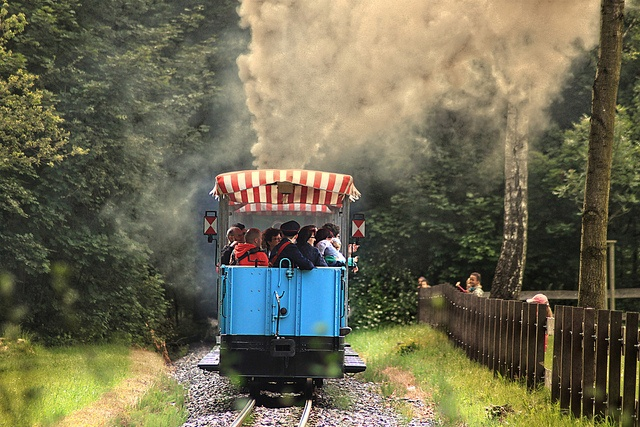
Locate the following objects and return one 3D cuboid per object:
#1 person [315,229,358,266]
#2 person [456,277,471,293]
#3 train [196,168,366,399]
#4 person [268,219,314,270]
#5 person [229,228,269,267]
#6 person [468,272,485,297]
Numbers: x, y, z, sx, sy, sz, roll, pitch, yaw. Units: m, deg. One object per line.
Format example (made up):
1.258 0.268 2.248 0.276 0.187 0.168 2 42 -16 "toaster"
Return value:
0.359 0.821 23.686 0.510 0.542 1.259 13 27 -23 "person"
4.397 2.219 29.527 0.583 0.298 0.808 -1 -12 -5 "person"
-0.797 1.903 25.027 3.180 4.230 6.111 1 -1 -1 "train"
-0.678 0.724 22.384 0.784 1.201 1.121 -5 21 -20 "person"
-1.576 0.867 22.375 0.752 1.027 1.296 -3 5 -34 "person"
4.515 2.042 27.780 0.393 0.642 0.823 3 -1 -2 "person"
